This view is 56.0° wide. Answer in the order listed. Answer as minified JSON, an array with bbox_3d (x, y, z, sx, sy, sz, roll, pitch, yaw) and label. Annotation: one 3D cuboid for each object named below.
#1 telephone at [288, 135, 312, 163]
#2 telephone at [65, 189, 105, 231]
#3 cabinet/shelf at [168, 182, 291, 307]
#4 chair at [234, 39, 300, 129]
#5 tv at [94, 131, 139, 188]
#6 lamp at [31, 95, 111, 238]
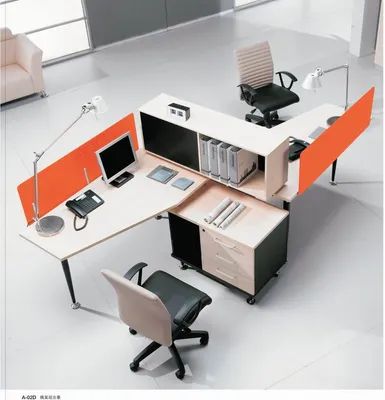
[{"bbox_3d":[0.940,-0.489,3.298,0.256,0.083,0.187,-37,51,-28],"label":"telephone"},{"bbox_3d":[-0.858,0.097,2.960,0.272,0.065,0.286,-33,53,-26],"label":"telephone"},{"bbox_3d":[0.305,0.331,3.070,0.859,0.749,0.594,18,38,35],"label":"cabinet/shelf"},{"bbox_3d":[0.920,-1.380,4.560,0.695,0.995,0.660,-19,40,-11],"label":"chair"},{"bbox_3d":[-0.652,-0.326,3.109,0.143,0.354,0.383,28,52,28],"label":"tv"},{"bbox_3d":[-0.983,-0.277,2.906,0.715,0.317,1.050,-20,61,12],"label":"lamp"}]
